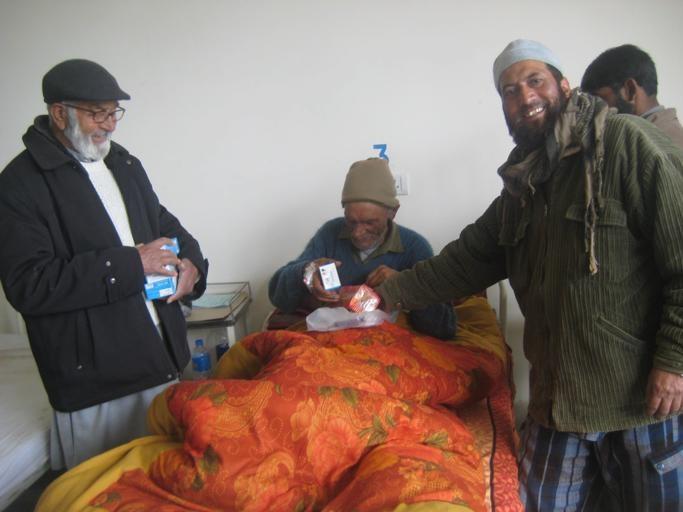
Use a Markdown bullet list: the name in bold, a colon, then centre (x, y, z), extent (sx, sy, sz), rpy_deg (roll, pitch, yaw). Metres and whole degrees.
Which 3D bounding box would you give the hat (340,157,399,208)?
- **hat**: centre (0.139, -0.328, 2.380), extent (0.200, 0.119, 0.296), rpy_deg (0, 38, 1)

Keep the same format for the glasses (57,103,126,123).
- **glasses**: centre (-0.908, -0.525, 1.945), extent (0.207, 0.078, 0.098), rpy_deg (-12, 12, -28)

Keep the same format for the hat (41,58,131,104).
- **hat**: centre (-0.922, -0.614, 1.920), extent (0.226, 0.110, 0.176), rpy_deg (-4, 20, -3)
